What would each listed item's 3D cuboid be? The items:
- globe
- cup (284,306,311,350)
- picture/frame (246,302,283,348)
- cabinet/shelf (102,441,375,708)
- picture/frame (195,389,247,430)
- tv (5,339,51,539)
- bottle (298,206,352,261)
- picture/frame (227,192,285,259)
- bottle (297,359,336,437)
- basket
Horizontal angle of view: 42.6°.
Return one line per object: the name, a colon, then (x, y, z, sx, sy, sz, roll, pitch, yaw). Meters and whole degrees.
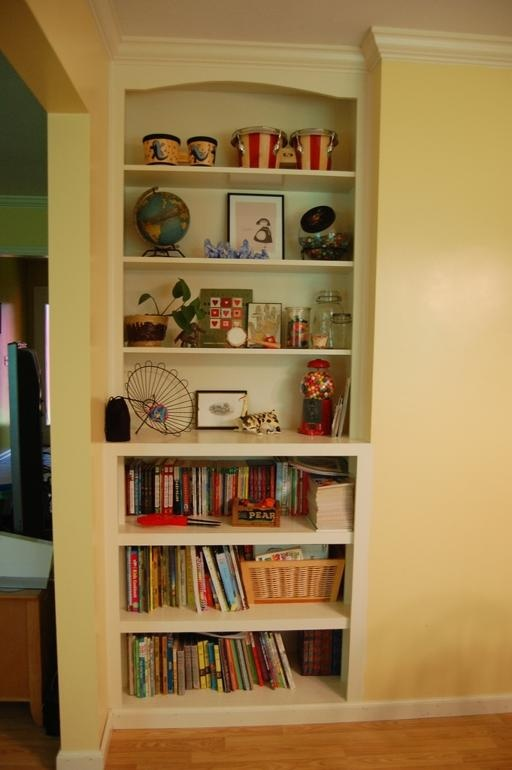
globe: (-0.362, -0.620, 2.543, 0.198, 0.248, 0.234, 0, 1, -4)
cup: (0.160, -0.224, 2.582, 0.098, 0.167, 0.178, 0, 0, 2)
picture/frame: (0.026, -0.243, 2.633, 0.176, 0.251, 0.025, 2, 0, -2)
cabinet/shelf: (-0.087, 0.712, 2.454, 0.910, 0.904, 0.311, -1, 13, -4)
picture/frame: (-0.142, 0.101, 2.651, 0.149, 0.129, 0.015, 1, -9, -2)
tv: (-1.075, 0.256, 3.107, 0.176, 0.906, 0.188, -1, 1, -20)
bottle: (0.241, -0.605, 2.576, 0.223, 0.164, 0.206, 0, 18, 0)
picture/frame: (-0.010, -0.636, 2.619, 0.287, 0.366, 0.027, 1, 2, -3)
bottle: (0.241, 0.045, 2.633, 0.137, 0.293, 0.217, 0, 1, 6)
basket: (0.140, 0.732, 2.541, 0.297, 0.132, 0.205, 0, -12, -2)
